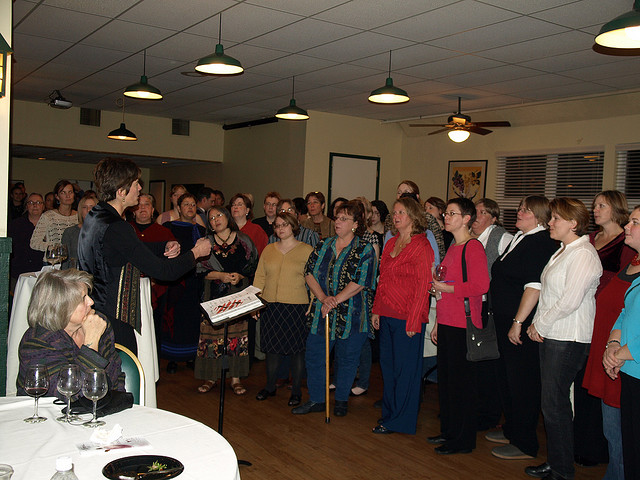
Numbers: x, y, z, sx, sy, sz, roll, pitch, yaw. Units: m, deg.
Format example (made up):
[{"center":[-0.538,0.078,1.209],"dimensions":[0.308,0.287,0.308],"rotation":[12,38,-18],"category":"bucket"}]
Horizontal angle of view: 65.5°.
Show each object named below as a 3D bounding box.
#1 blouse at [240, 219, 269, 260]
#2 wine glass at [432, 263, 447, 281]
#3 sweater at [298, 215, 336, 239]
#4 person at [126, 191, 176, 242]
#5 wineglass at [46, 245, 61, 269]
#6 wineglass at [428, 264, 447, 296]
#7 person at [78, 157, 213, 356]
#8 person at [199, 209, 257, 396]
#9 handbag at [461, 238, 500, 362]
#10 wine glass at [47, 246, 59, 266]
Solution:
[{"center":[-0.820,-0.006,5.728],"dimensions":[0.410,0.440,0.235],"rotation":[7,15,12],"category":"blouse"},{"center":[0.893,0.245,3.740],"dimensions":[0.097,0.105,0.098],"rotation":[14,-10,-23],"category":"wine glass"},{"center":[-0.023,-0.177,6.710],"dimensions":[0.517,0.306,0.410],"rotation":[3,18,-4],"category":"sweater"},{"center":[-1.970,-0.217,5.614],"dimensions":[0.694,0.631,0.339],"rotation":[4,-2,-5],"category":"person"},{"center":[-2.142,0.142,3.997],"dimensions":[0.096,0.201,0.226],"rotation":[-1,5,-32],"category":"wineglass"},{"center":[0.933,0.325,3.928],"dimensions":[0.136,0.283,0.506],"rotation":[3,4,13],"category":"wineglass"},{"center":[-1.188,0.326,3.382],"dimensions":[0.802,1.638,0.771],"rotation":[5,13,-11],"category":"person"},{"center":[-0.968,0.630,4.998],"dimensions":[0.587,1.998,0.541],"rotation":[2,19,-7],"category":"person"},{"center":[1.263,0.472,3.863],"dimensions":[0.231,0.933,0.284],"rotation":[6,5,17],"category":"handbag"},{"center":[-2.124,0.128,3.939],"dimensions":[0.131,0.129,0.075],"rotation":[5,5,32],"category":"wine glass"}]
